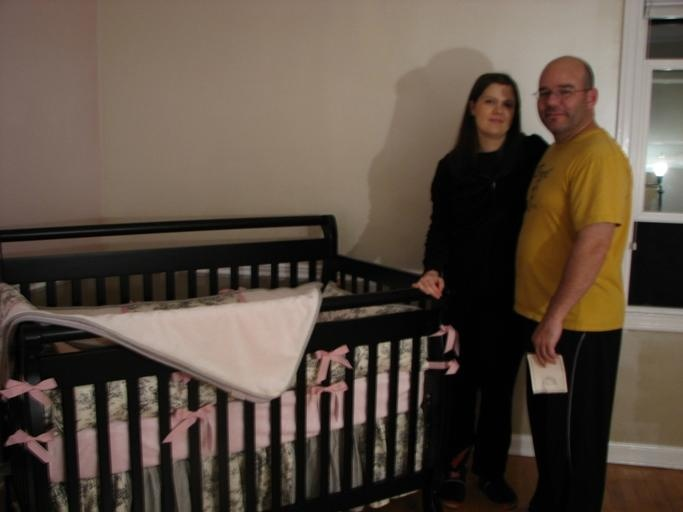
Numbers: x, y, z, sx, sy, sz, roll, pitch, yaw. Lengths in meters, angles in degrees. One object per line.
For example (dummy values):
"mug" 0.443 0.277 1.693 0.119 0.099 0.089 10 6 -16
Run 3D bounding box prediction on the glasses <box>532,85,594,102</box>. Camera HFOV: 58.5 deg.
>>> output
"glasses" 0.725 -0.528 1.996 0.176 0.039 0.057 4 8 17
